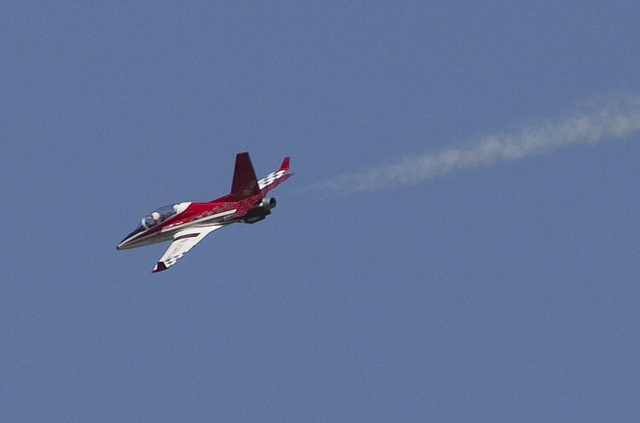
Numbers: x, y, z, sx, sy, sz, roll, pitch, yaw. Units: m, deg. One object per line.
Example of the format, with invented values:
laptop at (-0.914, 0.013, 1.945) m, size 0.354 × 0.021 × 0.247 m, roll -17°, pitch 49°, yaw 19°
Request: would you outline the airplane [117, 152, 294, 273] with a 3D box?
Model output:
airplane at (-3.325, 0.120, 35.448) m, size 3.855 × 1.684 × 4.353 m, roll -12°, pitch 18°, yaw 30°
